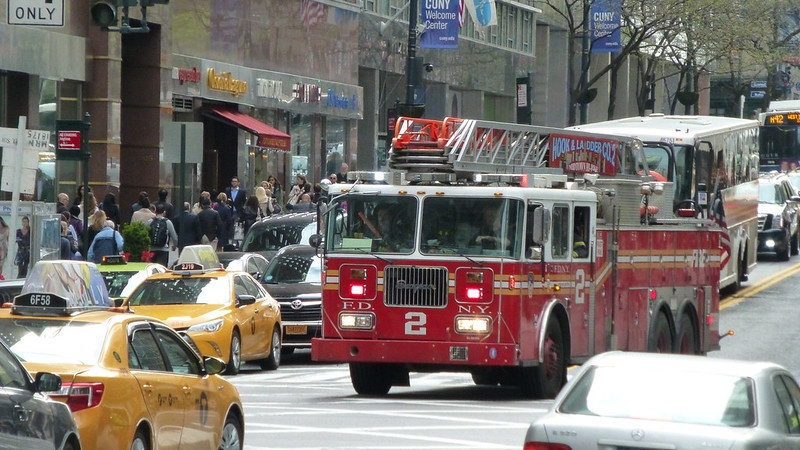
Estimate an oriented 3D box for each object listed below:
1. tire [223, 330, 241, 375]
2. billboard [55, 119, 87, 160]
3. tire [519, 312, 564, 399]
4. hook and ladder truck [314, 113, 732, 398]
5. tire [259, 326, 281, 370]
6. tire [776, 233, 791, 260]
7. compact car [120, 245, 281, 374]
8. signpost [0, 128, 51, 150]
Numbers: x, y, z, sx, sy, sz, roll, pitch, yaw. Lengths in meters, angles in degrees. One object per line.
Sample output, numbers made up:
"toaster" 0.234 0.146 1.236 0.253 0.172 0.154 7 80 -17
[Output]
"tire" -3.622 2.679 27.544 0.305 1.007 0.964 -2 -1 4
"billboard" -8.247 -2.171 32.170 1.070 1.412 0.140 0 3 -3
"tire" 2.756 2.545 25.156 0.633 1.551 1.355 -2 -16 27
"hook and ladder truck" 2.536 0.642 26.511 8.516 5.720 3.117 -4 6 -33
"tire" -3.009 2.855 29.850 0.328 1.048 1.018 -4 -8 9
"tire" 14.790 0.785 49.425 0.308 1.044 0.997 -2 1 16
"compact car" -4.212 1.699 28.286 2.089 1.791 3.640 -2 -7 12
"signpost" -8.617 -1.994 29.348 0.846 0.362 0.115 2 -3 -28
